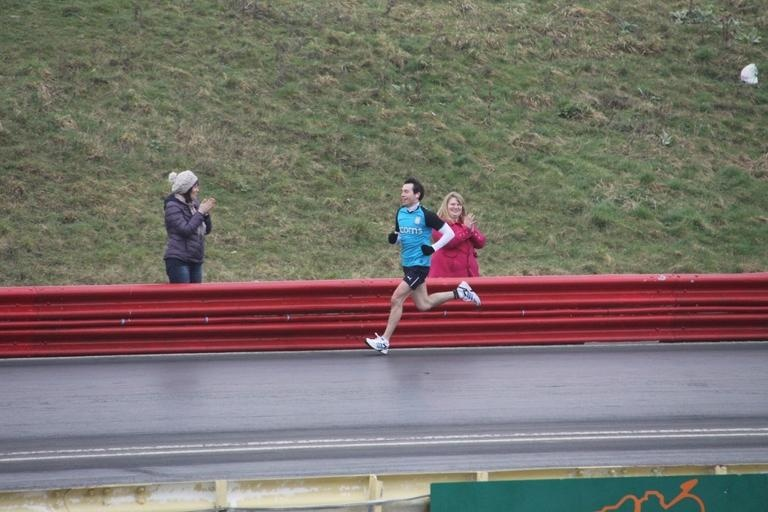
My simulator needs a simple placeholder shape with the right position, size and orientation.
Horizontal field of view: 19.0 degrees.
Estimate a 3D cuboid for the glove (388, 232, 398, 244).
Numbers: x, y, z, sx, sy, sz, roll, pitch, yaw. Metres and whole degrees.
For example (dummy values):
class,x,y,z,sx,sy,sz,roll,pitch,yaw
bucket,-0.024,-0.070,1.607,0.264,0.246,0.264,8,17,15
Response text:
class,x,y,z,sx,sy,sz,roll,pitch,yaw
glove,0.307,-0.514,63.583,0.317,0.474,0.322,5,65,2
